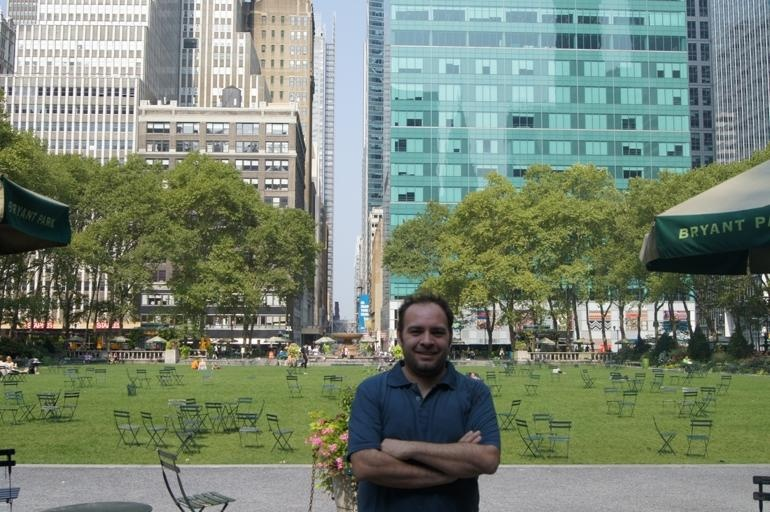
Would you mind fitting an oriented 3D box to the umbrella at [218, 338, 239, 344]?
[{"bbox_3d":[-25.402,13.536,193.336,2.651,0.932,4.363,-3,-4,6],"label":"umbrella"}]
